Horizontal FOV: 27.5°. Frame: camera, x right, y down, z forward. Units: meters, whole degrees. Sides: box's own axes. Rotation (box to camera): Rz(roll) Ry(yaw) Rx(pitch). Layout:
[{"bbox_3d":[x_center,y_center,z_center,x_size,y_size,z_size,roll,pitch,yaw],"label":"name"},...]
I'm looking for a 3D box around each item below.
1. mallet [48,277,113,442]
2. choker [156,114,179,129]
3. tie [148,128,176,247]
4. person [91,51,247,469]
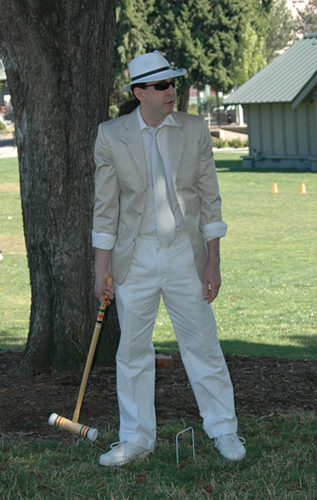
[{"bbox_3d":[-0.458,0.565,3.589,0.302,0.934,0.353,-1,4,20],"label":"mallet"},{"bbox_3d":[0.051,-0.683,3.458,0.075,0.079,0.032,30,-24,-36],"label":"choker"},{"bbox_3d":[0.017,-0.332,3.409,0.127,0.622,0.128,-1,4,-4],"label":"tie"},{"bbox_3d":[0.041,0.056,3.492,0.790,2.164,0.346,-1,4,-5],"label":"person"}]
